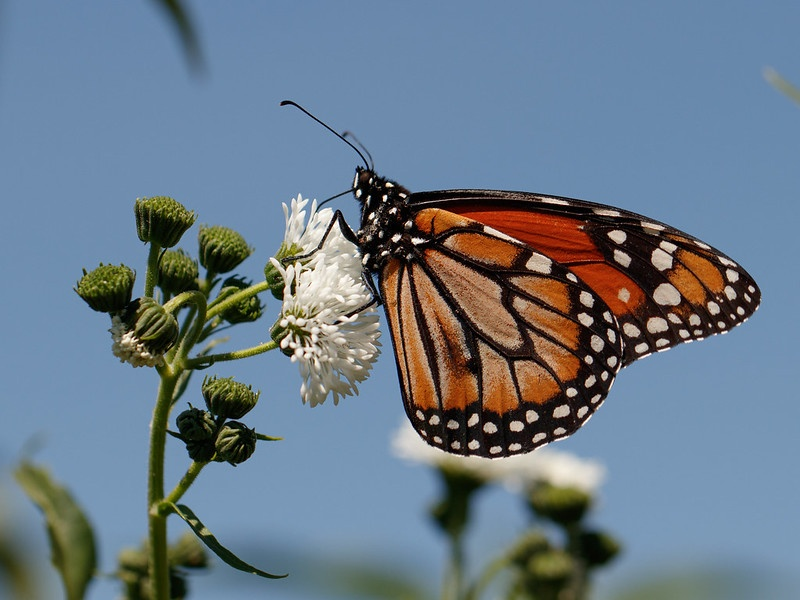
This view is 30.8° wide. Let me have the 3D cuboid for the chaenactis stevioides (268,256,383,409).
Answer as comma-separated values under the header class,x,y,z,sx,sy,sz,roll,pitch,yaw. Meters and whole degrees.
class,x,y,z,sx,sy,sz,roll,pitch,yaw
chaenactis stevioides,-0.301,0.183,5.416,0.522,0.687,0.387,3,-11,-20
